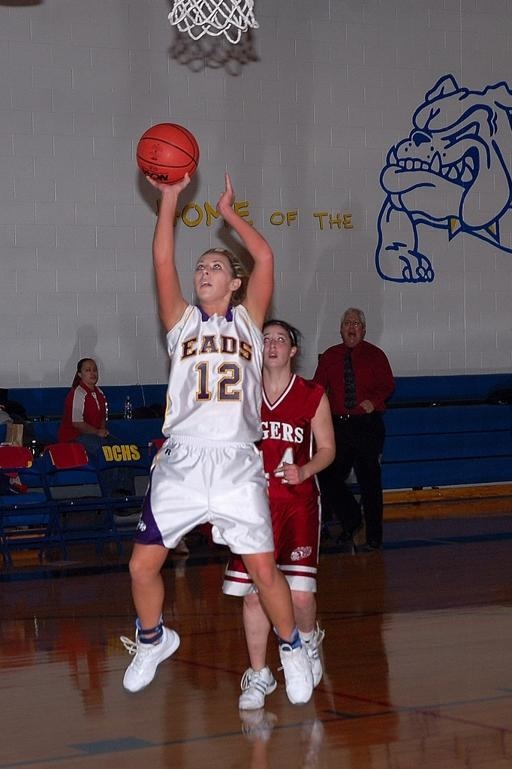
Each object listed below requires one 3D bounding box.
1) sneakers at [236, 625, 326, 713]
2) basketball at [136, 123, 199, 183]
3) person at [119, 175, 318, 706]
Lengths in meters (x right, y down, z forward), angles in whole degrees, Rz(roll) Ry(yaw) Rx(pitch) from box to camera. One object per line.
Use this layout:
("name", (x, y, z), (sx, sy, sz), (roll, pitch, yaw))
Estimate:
("sneakers", (0.099, 0.893, 2.197), (0.121, 0.163, 0.387), (-28, -9, 16))
("basketball", (-0.281, -0.721, 2.244), (0.184, 0.180, 0.144), (-4, 12, -5))
("person", (-0.175, 0.181, 2.087), (0.500, 1.564, 0.585), (-3, 12, 0))
